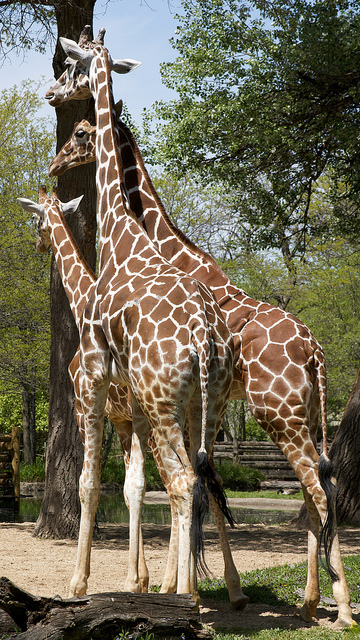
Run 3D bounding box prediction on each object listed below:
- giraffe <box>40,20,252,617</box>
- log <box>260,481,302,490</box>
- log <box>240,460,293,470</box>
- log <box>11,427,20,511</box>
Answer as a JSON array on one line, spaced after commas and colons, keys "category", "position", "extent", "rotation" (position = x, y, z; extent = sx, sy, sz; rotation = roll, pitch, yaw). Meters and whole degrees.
[{"category": "giraffe", "position": [-0.238, -0.259, 7.023], "extent": [1.696, 5.633, 2.710], "rotation": [1, -5, -8]}, {"category": "log", "position": [2.704, 4.448, 21.796], "extent": [0.844, 0.221, 1.127], "rotation": [2, -5, -24]}, {"category": "log", "position": [2.506, 4.345, 24.466], "extent": [1.507, 0.256, 0.961], "rotation": [0, -5, 8]}, {"category": "log", "position": [-3.228, 2.737, 15.980], "extent": [0.148, 1.249, 0.590], "rotation": [2, -5, -15]}]
